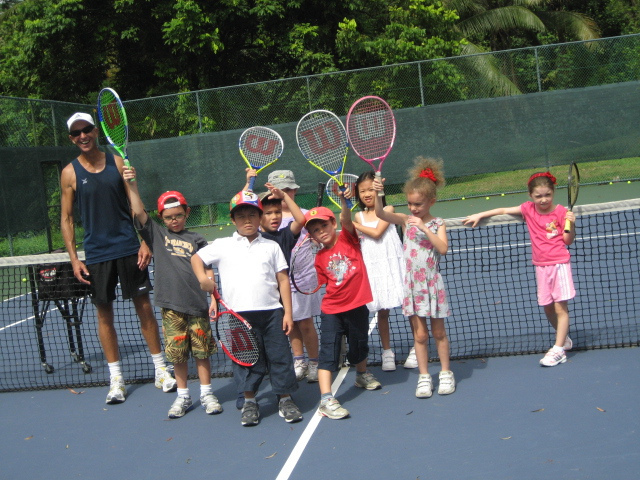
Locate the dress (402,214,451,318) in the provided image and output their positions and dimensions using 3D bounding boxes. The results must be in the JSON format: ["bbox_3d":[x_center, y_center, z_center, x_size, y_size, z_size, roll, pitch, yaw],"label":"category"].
[{"bbox_3d":[0.940,0.283,6.205,0.417,0.892,0.305,-7,5,13],"label":"dress"}]

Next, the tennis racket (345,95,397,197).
[{"bbox_3d":[0.581,-0.985,7.310,0.570,1.595,0.068,-1,-27,-3],"label":"tennis racket"}]

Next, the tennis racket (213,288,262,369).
[{"bbox_3d":[-0.838,0.678,6.000,0.326,0.969,0.101,-14,-36,-20],"label":"tennis racket"}]

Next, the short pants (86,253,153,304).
[{"bbox_3d":[-2.055,0.370,6.788,0.569,0.502,0.352,-12,8,-13],"label":"short pants"}]

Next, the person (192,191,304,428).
[{"bbox_3d":[-0.645,0.632,6.003,0.806,1.415,0.540,-9,5,-6],"label":"person"}]

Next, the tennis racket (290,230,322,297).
[{"bbox_3d":[-0.145,0.247,6.631,0.388,0.587,0.129,-1,5,-38],"label":"tennis racket"}]

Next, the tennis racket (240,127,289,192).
[{"bbox_3d":[-0.762,-1.087,8.150,0.400,1.161,0.061,6,-28,18],"label":"tennis racket"}]

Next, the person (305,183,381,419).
[{"bbox_3d":[0.135,0.584,6.129,0.663,2.002,0.386,-12,7,-38],"label":"person"}]

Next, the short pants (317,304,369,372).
[{"bbox_3d":[0.212,0.822,6.162,0.478,0.667,0.218,-5,14,-11],"label":"short pants"}]

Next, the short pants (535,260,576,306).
[{"bbox_3d":[2.262,0.380,6.519,0.314,0.465,0.239,-5,18,17],"label":"short pants"}]

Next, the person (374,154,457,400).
[{"bbox_3d":[0.977,0.318,6.476,0.646,2.212,0.936,-7,5,11],"label":"person"}]

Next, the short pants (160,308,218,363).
[{"bbox_3d":[-1.264,0.815,6.373,0.484,0.680,0.358,-2,44,-10],"label":"short pants"}]

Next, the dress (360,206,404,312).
[{"bbox_3d":[0.650,0.271,6.717,0.424,0.821,0.375,-8,5,0],"label":"dress"}]

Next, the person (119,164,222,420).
[{"bbox_3d":[-1.384,0.377,6.414,0.910,2.636,0.561,1,-23,-28],"label":"person"}]

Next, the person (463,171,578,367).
[{"bbox_3d":[2.336,0.214,6.967,0.774,1.859,1.397,-5,6,27],"label":"person"}]
